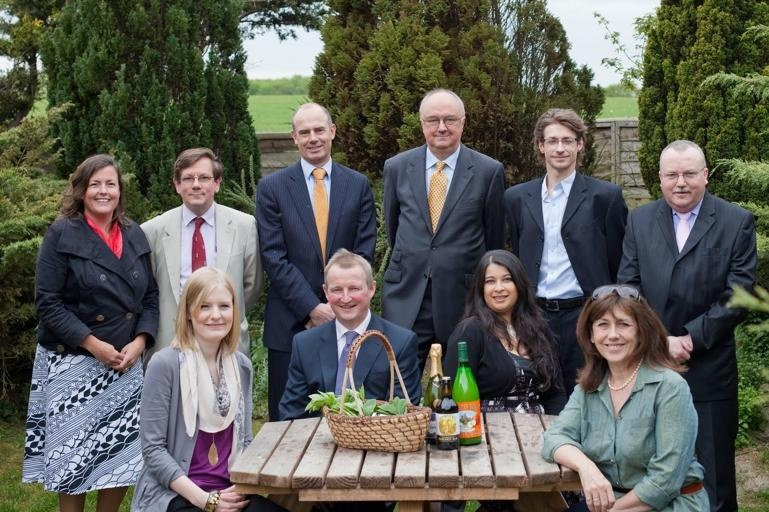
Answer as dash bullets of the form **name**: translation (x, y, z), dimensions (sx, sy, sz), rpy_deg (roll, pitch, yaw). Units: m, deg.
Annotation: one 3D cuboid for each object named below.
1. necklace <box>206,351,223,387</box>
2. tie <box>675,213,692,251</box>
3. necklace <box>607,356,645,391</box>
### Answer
- **necklace**: translation (-1.100, 0.751, 3.955), dimensions (0.114, 0.188, 0.140), rpy_deg (-4, -3, -10)
- **tie**: translation (2.341, -0.207, 4.685), dimensions (0.097, 0.338, 0.093), rpy_deg (3, -14, 18)
- **necklace**: translation (1.457, 0.724, 3.635), dimensions (0.029, 0.196, 0.148), rpy_deg (25, 8, -21)
